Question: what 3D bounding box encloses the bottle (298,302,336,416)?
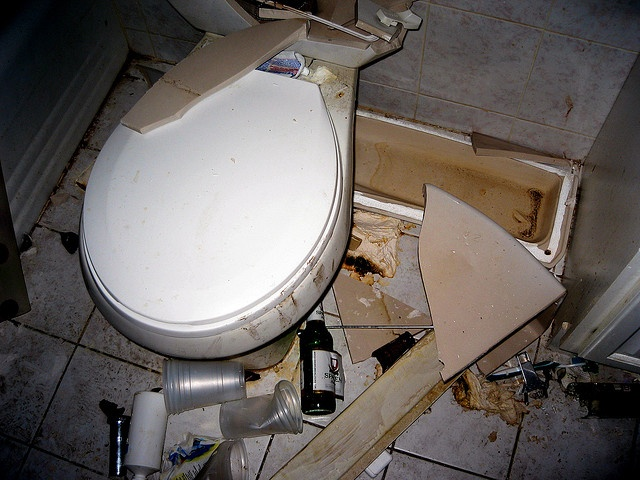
[{"bbox_3d":[-0.011,0.296,1.404,0.084,0.086,0.353,-24,50,29],"label":"bottle"}]
